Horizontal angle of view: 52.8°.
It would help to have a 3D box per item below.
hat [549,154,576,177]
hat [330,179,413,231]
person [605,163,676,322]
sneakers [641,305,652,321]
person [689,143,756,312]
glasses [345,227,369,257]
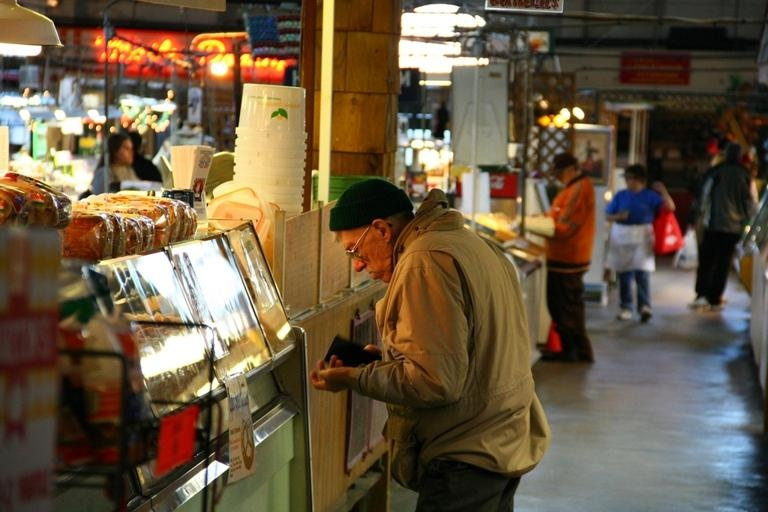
[{"bbox_3d":[1.794,-0.897,7.692,0.216,0.207,0.280,2,7,9],"label":"hat"},{"bbox_3d":[-0.056,-0.207,2.706,0.190,0.138,0.195,-3,8,8],"label":"hat"},{"bbox_3d":[3.114,-0.174,9.740,0.678,1.949,0.564,2,6,14],"label":"person"},{"bbox_3d":[3.277,0.709,9.738,0.132,0.200,0.193,4,14,15],"label":"sneakers"},{"bbox_3d":[4.400,-0.363,10.078,0.734,2.217,0.596,5,7,34],"label":"person"},{"bbox_3d":[-0.093,-0.050,2.725,0.026,0.095,0.088,33,-6,7],"label":"glasses"}]
